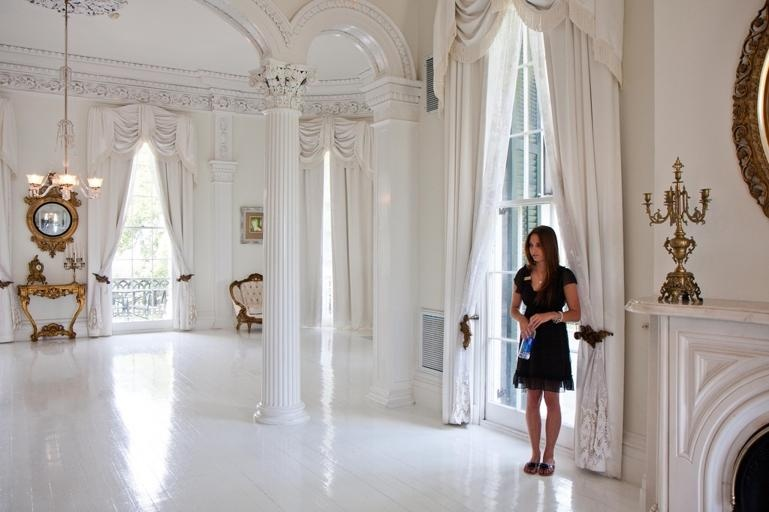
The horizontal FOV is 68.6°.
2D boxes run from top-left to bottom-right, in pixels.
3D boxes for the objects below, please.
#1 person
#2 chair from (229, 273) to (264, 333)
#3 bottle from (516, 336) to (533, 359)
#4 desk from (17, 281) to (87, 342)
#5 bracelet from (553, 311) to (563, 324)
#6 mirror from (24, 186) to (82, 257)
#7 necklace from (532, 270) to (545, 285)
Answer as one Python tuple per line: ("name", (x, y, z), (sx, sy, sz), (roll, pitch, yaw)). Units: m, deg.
("person", (1.433, 0.837, 5.104), (0.606, 2.205, 0.387), (2, 5, 19))
("chair", (-2.614, 0.912, 11.249), (0.812, 1.069, 0.747), (-2, 6, -26))
("bottle", (1.250, 0.812, 5.034), (0.116, 0.225, 0.087), (3, 6, 23))
("desk", (-5.959, 0.969, 9.979), (0.960, 0.950, 0.322), (0, 5, -21))
("bracelet", (1.520, 0.543, 4.976), (0.036, 0.094, 0.080), (6, -40, 1))
("mirror", (-5.941, -0.645, 10.066), (0.847, 1.392, 0.039), (0, -26, -31))
("necklace", (1.394, 0.205, 5.149), (0.087, 0.127, 0.107), (4, -22, -1))
